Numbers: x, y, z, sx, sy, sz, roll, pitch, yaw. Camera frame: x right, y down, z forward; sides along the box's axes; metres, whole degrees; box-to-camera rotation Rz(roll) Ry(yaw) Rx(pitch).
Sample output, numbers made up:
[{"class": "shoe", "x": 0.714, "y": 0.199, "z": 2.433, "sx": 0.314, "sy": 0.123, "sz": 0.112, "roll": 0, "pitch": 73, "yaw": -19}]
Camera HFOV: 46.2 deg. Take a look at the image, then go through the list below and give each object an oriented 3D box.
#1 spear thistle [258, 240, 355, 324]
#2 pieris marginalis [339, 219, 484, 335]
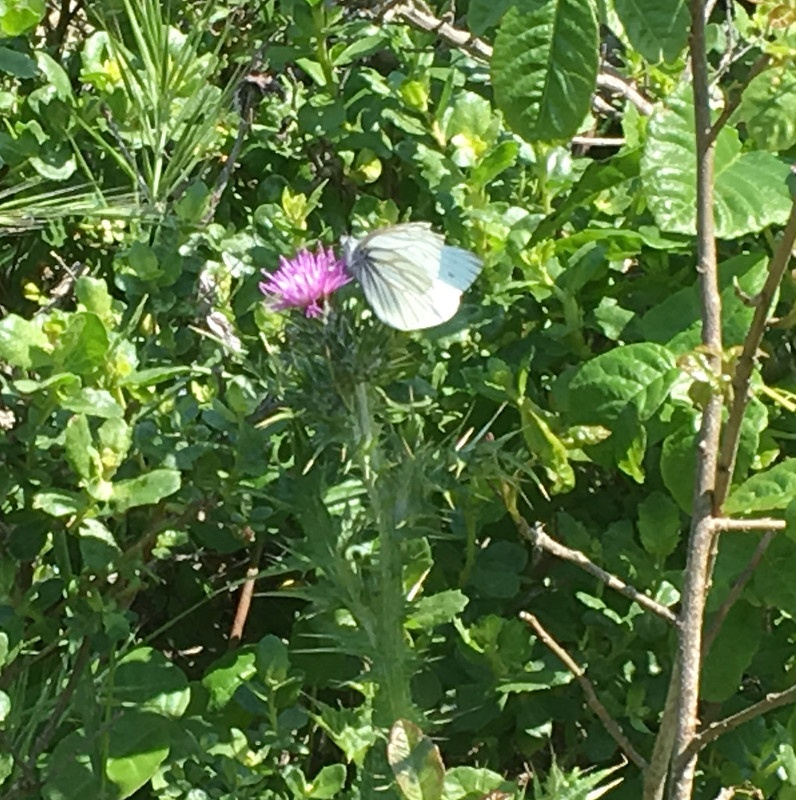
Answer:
[{"class": "spear thistle", "x": -0.085, "y": -0.104, "z": 0.833, "sx": 0.076, "sy": 0.061, "sz": 0.074, "roll": -31, "pitch": -8, "yaw": 39}, {"class": "pieris marginalis", "x": 0.011, "y": -0.094, "z": 0.782, "sx": 0.117, "sy": 0.061, "sz": 0.108, "roll": 22, "pitch": -1, "yaw": 1}]
